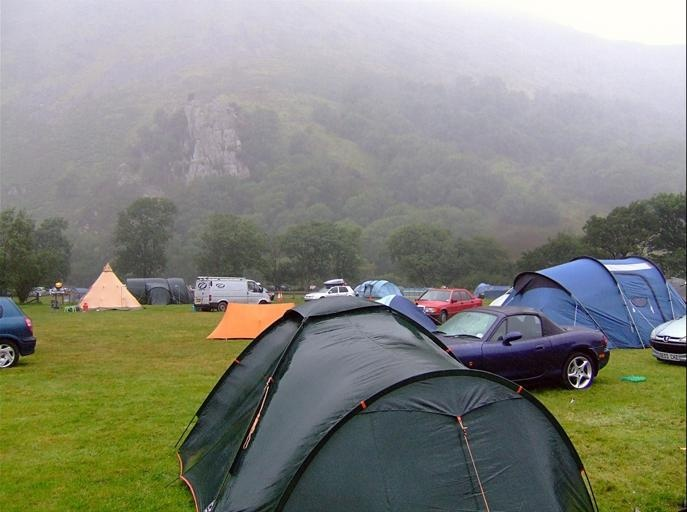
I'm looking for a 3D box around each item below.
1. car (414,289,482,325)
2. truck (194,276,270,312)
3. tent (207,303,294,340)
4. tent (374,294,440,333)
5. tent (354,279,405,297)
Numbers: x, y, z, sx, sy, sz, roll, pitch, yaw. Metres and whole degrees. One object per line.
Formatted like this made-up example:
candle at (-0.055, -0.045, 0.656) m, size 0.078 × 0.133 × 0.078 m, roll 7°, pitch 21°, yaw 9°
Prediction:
car at (5.169, 2.429, 32.257) m, size 1.669 × 1.174 × 3.291 m, roll -4°, pitch -4°, yaw 43°
truck at (-6.985, 2.354, 40.931) m, size 4.042 × 2.133 × 2.237 m, roll -2°, pitch 3°, yaw -20°
tent at (-3.861, 2.678, 25.820) m, size 2.789 × 1.208 × 2.355 m, roll 0°, pitch 6°, yaw -9°
tent at (1.989, 1.707, 19.472) m, size 1.597 × 0.750 × 2.366 m, roll 6°, pitch -3°, yaw -2°
tent at (2.196, 2.145, 40.601) m, size 1.421 × 0.777 × 2.164 m, roll 0°, pitch 4°, yaw -28°
